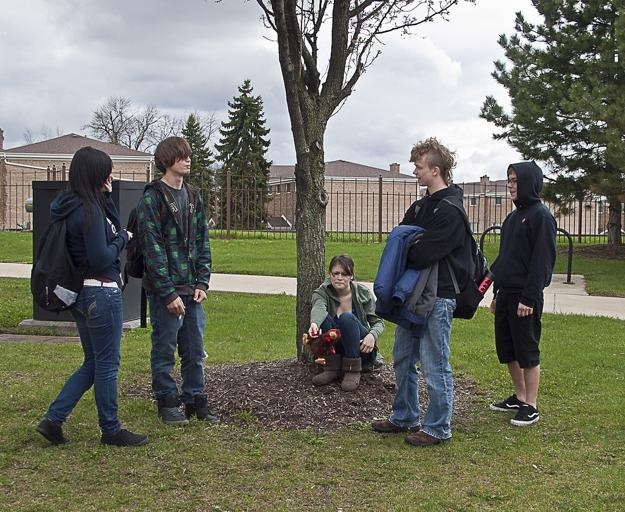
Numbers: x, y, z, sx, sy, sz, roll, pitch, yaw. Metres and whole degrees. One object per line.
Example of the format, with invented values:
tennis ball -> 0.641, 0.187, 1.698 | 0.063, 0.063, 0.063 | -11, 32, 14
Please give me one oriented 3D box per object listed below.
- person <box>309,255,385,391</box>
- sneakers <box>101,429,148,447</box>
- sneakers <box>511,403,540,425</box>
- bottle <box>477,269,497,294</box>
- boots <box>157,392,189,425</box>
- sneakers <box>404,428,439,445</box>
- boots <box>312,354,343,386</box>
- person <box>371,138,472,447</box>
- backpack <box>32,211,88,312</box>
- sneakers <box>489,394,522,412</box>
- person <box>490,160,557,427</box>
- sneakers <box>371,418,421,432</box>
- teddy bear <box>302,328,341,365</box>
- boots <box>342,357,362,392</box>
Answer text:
person -> 0.243, 0.604, 6.017 | 0.613, 1.217, 1.075 | -1, 6, 32
sneakers -> -1.437, 1.396, 4.978 | 0.300, 0.138, 0.149 | 1, -2, -7
sneakers -> 1.895, 1.413, 5.822 | 0.118, 0.147, 0.306 | -5, -7, 42
bottle -> 1.462, 0.228, 5.576 | 0.048, 0.199, 0.182 | 23, 46, 15
boots -> -1.180, 1.285, 5.451 | 0.137, 0.183, 0.371 | 0, 0, -39
sneakers -> 0.881, 1.467, 5.260 | 0.201, 0.093, 0.121 | -1, 31, 5
boots -> 0.157, 1.066, 6.057 | 0.355, 0.319, 0.168 | 0, 1, -23
person -> 0.925, 0.270, 5.319 | 0.665, 2.481, 0.656 | 2, 3, 32
backpack -> -1.885, 0.052, 4.863 | 0.421, 0.682, 0.309 | 7, 6, 25
sneakers -> 1.830, 1.379, 6.142 | 0.319, 0.163, 0.122 | 3, -8, 5
person -> 1.891, 0.308, 5.960 | 0.432, 2.353, 0.612 | -1, 3, -34
sneakers -> 0.707, 1.394, 5.463 | 0.356, 0.178, 0.142 | 6, -7, -8
teddy bear -> 0.101, 0.823, 5.962 | 0.345, 0.340, 0.137 | -1, 6, -6
boots -> 0.362, 1.082, 6.080 | 0.182, 0.303, 0.265 | 1, 3, 3
